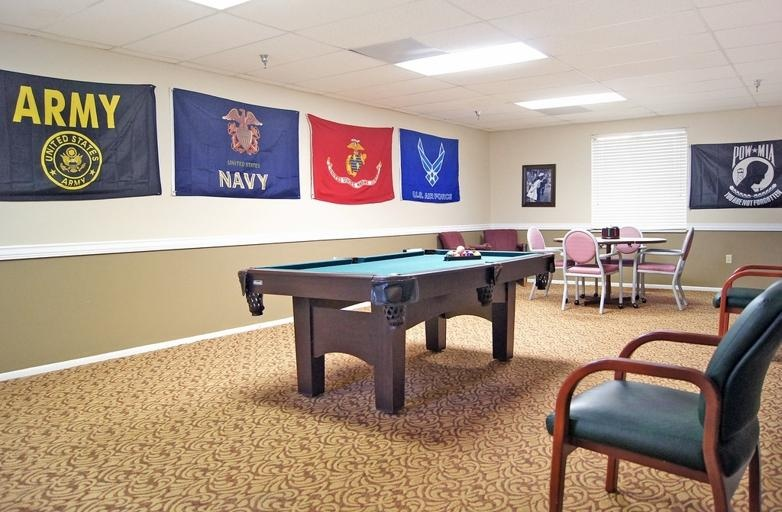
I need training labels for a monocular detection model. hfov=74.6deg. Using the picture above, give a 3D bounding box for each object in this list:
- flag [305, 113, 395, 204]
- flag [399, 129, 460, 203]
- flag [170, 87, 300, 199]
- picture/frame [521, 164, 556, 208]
[{"bbox_3d":[-0.681,-1.469,7.750,0.070,1.129,1.656,1,3,41],"label":"flag"},{"bbox_3d":[0.634,-1.593,9.121,0.071,1.044,1.563,-2,2,39],"label":"flag"},{"bbox_3d":[-2.021,-1.413,6.449,1.730,1.125,0.072,-3,4,-43],"label":"flag"},{"bbox_3d":[2.936,-1.403,10.148,0.883,1.102,0.083,4,6,34],"label":"picture/frame"}]
